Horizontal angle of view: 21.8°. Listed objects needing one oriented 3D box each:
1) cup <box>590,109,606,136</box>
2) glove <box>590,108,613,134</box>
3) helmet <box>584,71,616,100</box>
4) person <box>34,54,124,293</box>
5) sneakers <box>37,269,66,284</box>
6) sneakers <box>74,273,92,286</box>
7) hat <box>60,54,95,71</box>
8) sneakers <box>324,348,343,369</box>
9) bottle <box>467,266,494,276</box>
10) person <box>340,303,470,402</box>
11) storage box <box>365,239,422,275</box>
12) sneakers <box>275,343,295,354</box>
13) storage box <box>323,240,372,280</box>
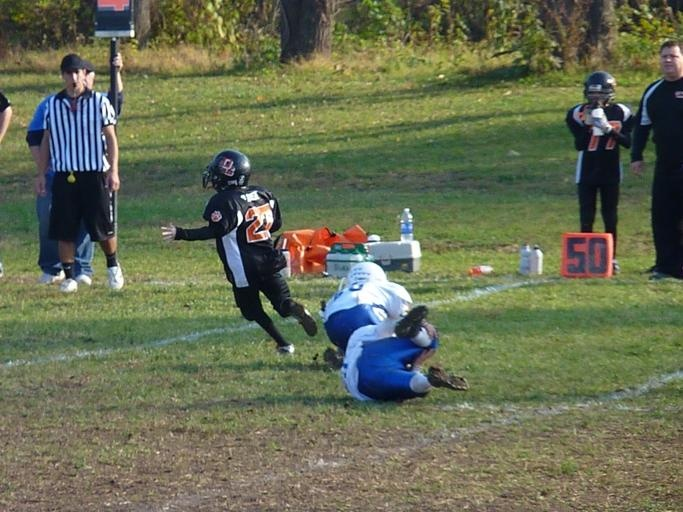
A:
[{"bbox_3d":[4.597,-2.413,31.872,0.249,0.373,0.408,-13,10,9],"label":"cup"},{"bbox_3d":[4.645,-2.422,31.883,0.219,0.353,0.378,-18,14,6],"label":"glove"},{"bbox_3d":[4.686,-3.074,32.247,0.450,0.442,0.564,0,0,11],"label":"helmet"},{"bbox_3d":[-4.582,-1.462,31.183,1.353,4.126,0.442,-3,3,-9],"label":"person"},{"bbox_3d":[-5.207,0.359,31.870,0.198,0.225,0.532,5,2,45],"label":"sneakers"},{"bbox_3d":[-4.599,0.399,31.830,0.211,0.115,0.216,0,-16,-12],"label":"sneakers"},{"bbox_3d":[-4.712,-3.375,31.091,0.316,0.214,0.441,-12,1,-32],"label":"hat"},{"bbox_3d":[-0.133,1.635,28.909,0.273,0.164,0.326,4,30,-4],"label":"sneakers"},{"bbox_3d":[2.569,0.228,32.314,0.549,0.161,0.271,-4,4,-31],"label":"bottle"},{"bbox_3d":[0.766,1.610,28.130,1.470,0.830,1.789,25,-25,-20],"label":"person"},{"bbox_3d":[0.963,0.039,32.737,1.015,0.556,0.567,-3,-10,26],"label":"storage box"},{"bbox_3d":[-0.915,1.490,29.282,0.272,0.168,0.140,-4,12,6],"label":"sneakers"},{"bbox_3d":[0.162,0.038,32.729,0.742,0.593,1.181,6,4,21],"label":"storage box"}]
